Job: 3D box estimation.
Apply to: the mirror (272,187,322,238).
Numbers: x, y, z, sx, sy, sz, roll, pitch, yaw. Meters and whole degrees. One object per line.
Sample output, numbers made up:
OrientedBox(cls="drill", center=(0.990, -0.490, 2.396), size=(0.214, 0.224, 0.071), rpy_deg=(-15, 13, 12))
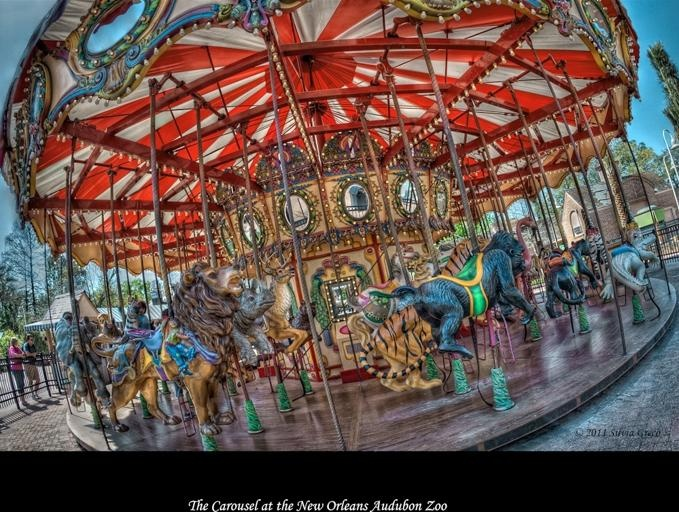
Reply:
OrientedBox(cls="mirror", center=(-0.997, -1.017, 11.664), size=(0.973, 1.307, 0.087), rpy_deg=(-14, 18, -1))

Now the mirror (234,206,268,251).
OrientedBox(cls="mirror", center=(-2.079, -0.683, 11.815), size=(0.991, 1.261, 0.168), rpy_deg=(-1, 7, 45))

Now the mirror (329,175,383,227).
OrientedBox(cls="mirror", center=(0.309, -1.290, 11.556), size=(0.942, 1.154, 0.129), rpy_deg=(-8, -5, -3))

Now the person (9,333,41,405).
OrientedBox(cls="person", center=(-6.330, 2.334, 9.913), size=(0.460, 1.379, 2.240), rpy_deg=(-4, -6, -32))

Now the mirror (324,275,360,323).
OrientedBox(cls="mirror", center=(0.066, 0.998, 10.964), size=(0.923, 1.407, 0.139), rpy_deg=(-3, -8, -1))

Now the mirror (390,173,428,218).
OrientedBox(cls="mirror", center=(1.599, -1.427, 11.889), size=(0.693, 0.727, 0.201), rpy_deg=(-5, -5, -37))

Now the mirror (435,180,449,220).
OrientedBox(cls="mirror", center=(2.678, -1.462, 12.935), size=(0.082, 1.235, 1.049), rpy_deg=(-2, 1, 23))
